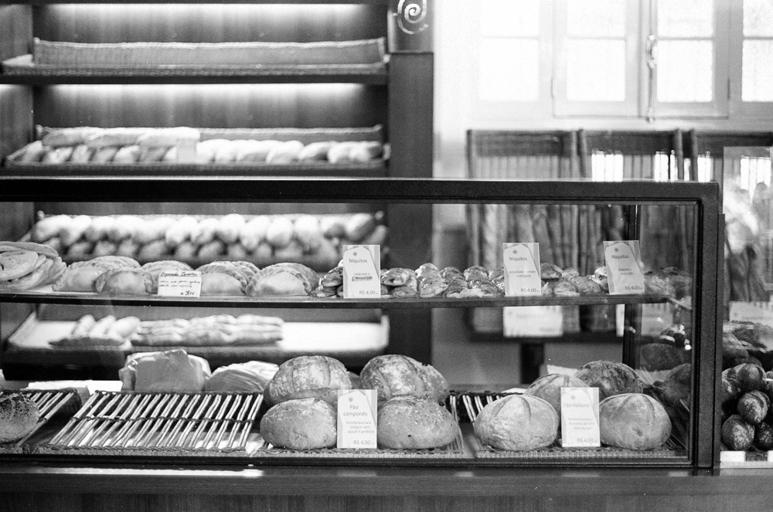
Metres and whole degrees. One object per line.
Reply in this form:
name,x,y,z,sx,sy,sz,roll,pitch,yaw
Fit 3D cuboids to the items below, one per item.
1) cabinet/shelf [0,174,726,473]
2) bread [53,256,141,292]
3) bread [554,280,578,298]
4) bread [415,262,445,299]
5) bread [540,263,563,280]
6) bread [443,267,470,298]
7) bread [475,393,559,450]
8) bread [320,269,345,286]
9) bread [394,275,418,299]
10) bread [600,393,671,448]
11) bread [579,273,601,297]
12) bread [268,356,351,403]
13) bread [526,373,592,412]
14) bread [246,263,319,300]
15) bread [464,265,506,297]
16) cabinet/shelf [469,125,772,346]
cabinet/shelf,0.063,0.236,3.411,2.216,0.959,0.326,0,-18,1
bread,-1.050,0.064,3.522,0.223,0.144,0.068,-18,-7,-4
bread,0.653,0.119,3.549,0.069,0.053,0.023,7,-11,-20
bread,0.159,0.089,3.579,0.070,0.041,0.132,-7,35,4
bread,0.603,0.063,3.577,0.062,0.021,0.063,-1,12,-11
bread,0.251,0.099,3.592,0.076,0.044,0.145,-3,30,1
bread,0.466,0.586,3.419,0.210,0.092,0.200,-5,4,31
bread,-0.191,0.088,3.524,0.054,0.029,0.071,-9,-7,-44
bread,0.077,0.126,3.525,0.080,0.061,0.028,-9,18,-25
bread,0.867,0.590,3.410,0.192,0.128,0.195,1,-2,-7
bread,0.737,0.112,3.565,0.070,0.064,0.021,0,-19,-12
bread,-0.280,0.452,3.523,0.196,0.118,0.199,3,-9,-24
bread,0.599,0.483,3.501,0.153,0.096,0.136,-3,1,36
bread,-0.370,0.107,3.558,0.165,0.066,0.134,-8,-5,38
bread,0.360,0.094,3.581,0.103,0.039,0.107,1,25,-5
cabinet/shelf,1.003,-0.364,4.423,1.088,1.279,0.306,1,2,-6
